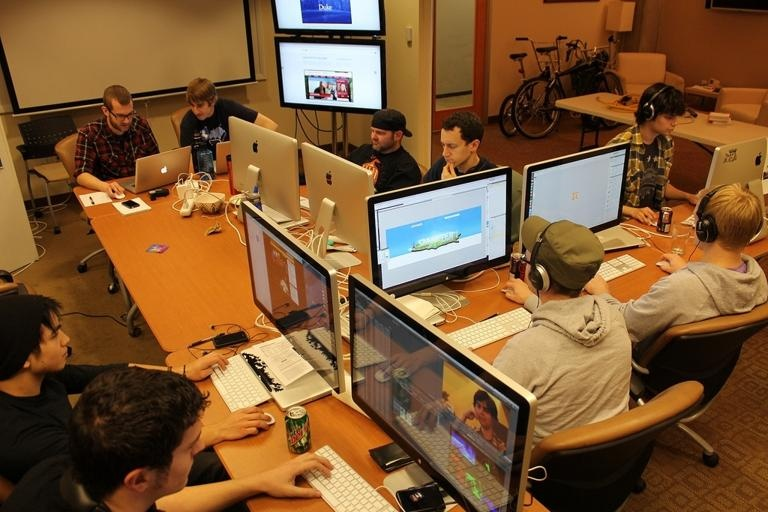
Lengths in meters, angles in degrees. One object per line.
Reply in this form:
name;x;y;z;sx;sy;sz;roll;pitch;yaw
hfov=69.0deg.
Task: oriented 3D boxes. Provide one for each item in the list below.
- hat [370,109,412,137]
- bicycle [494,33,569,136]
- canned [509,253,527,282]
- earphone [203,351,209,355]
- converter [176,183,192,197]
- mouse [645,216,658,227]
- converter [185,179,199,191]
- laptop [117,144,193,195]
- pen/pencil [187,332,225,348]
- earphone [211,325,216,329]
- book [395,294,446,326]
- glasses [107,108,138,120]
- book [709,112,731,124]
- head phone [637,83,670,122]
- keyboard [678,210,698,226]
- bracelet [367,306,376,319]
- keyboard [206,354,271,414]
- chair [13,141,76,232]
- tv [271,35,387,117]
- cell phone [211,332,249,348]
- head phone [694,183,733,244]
hat;0.050;-1.003;4.228;0.256;0.149;0.193;-1;31;-21
bicycle;2.138;-2.527;8.344;0.872;1.177;1.828;14;39;30
canned;0.800;0.070;3.333;0.102;0.179;0.095;15;32;31
earphone;-0.943;0.506;2.922;0.019;0.008;0.019;-22;10;-4
converter;-1.543;-0.508;4.305;0.097;0.099;0.054;-12;35;-20
mouse;1.895;-0.252;3.961;0.060;0.084;0.030;31;1;-16
converter;-1.501;-0.557;4.355;0.076;0.026;0.104;-11;32;-31
laptop;-1.840;-0.784;4.478;0.526;0.348;0.386;-29;52;-35
pen/pencil;-0.958;0.454;2.998;0.129;0.015;0.013;-26;34;-19
earphone;-0.944;0.391;3.082;0.013;0.024;0.022;5;4;6
book;0.200;0.282;3.091;0.170;0.071;0.229;-25;51;-35
glasses;-2.216;-1.184;4.677;0.185;0.090;0.107;-13;32;-13
book;3.384;-1.388;5.609;0.241;0.086;0.159;-6;32;-2
head phone;1.911;-1.065;3.956;0.186;0.234;0.122;3;31;12
keyboard;2.069;-0.255;3.801;0.063;0.051;0.276;14;27;33
bracelet;-0.055;0.237;2.367;0.015;0.050;0.036;-3;5;-36
keyboard;-0.721;0.633;2.758;0.172;0.038;0.309;-19;46;-24
chair;-3.444;-0.708;5.610;0.512;0.769;0.531;-23;58;-39
tv;-0.535;-1.866;5.713;1.576;0.981;0.116;6;32;13
cell phone;-0.821;0.440;2.992;0.144;0.025;0.084;-9;36;-18
head phone;1.777;-0.221;3.002;0.115;0.291;0.305;21;34;40
